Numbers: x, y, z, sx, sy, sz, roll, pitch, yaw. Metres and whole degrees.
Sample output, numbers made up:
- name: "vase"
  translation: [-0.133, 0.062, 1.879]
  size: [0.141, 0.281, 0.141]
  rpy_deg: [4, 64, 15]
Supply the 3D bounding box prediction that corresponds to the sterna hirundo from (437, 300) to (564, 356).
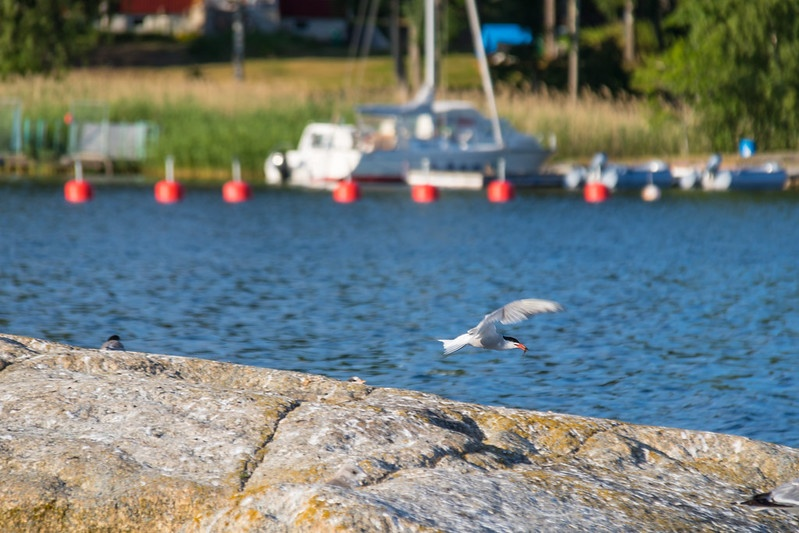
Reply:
- name: "sterna hirundo"
  translation: [2.319, 1.387, 46.136]
  size: [1.412, 0.649, 2.503]
  rpy_deg: [12, -8, 2]
